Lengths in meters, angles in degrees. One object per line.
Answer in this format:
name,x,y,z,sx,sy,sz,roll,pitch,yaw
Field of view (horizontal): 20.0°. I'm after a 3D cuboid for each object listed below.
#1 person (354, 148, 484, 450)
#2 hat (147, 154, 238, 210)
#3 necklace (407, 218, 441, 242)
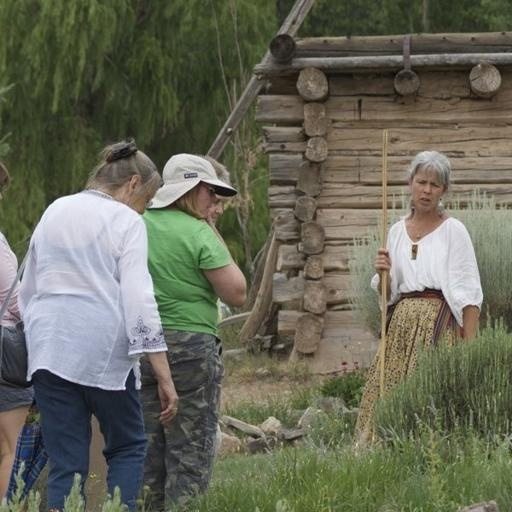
person,1.396,0.348,12.441,1.053,2.484,0.482,-1,-9,12
hat,-0.560,-0.663,11.965,0.696,0.403,0.515,-13,10,-27
necklace,1.389,-0.230,12.446,0.194,0.226,0.064,8,1,20
